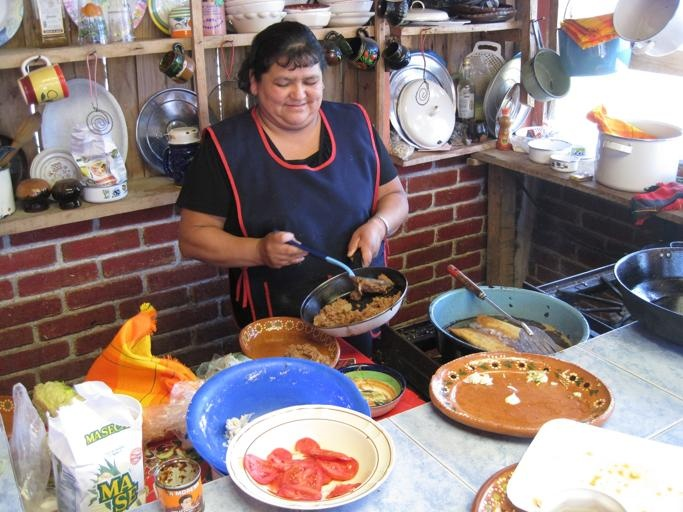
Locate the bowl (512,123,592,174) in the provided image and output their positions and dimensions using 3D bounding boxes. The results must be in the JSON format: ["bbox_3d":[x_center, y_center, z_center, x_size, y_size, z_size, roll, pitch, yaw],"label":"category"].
[{"bbox_3d":[1.094,-0.559,2.881,0.351,0.157,0.435,-14,27,-18],"label":"bowl"}]

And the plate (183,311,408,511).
[{"bbox_3d":[-0.104,0.393,1.404,0.397,0.104,0.382,-3,42,-12],"label":"plate"}]

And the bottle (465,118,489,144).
[{"bbox_3d":[0.740,-0.689,3.131,0.131,0.124,0.134,-11,23,-2],"label":"bottle"}]

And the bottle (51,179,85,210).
[{"bbox_3d":[-1.093,-0.244,2.254,0.118,0.107,0.118,5,18,21],"label":"bottle"}]

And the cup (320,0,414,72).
[{"bbox_3d":[0.141,-0.964,2.458,0.358,0.347,0.150,13,14,17],"label":"cup"}]

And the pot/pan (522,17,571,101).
[{"bbox_3d":[1.001,-0.976,2.741,0.209,0.366,0.121,-17,3,-18],"label":"pot/pan"}]

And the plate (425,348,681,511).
[{"bbox_3d":[0.533,0.338,1.405,0.614,0.056,0.343,-7,28,-7],"label":"plate"}]

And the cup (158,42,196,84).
[{"bbox_3d":[-0.671,-0.756,2.252,0.096,0.112,0.162,-31,51,20],"label":"cup"}]

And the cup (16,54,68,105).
[{"bbox_3d":[-1.074,-0.620,1.997,0.176,0.195,0.123,-10,7,-21],"label":"cup"}]

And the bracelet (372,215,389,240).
[{"bbox_3d":[0.155,-0.107,2.120,0.019,0.071,0.072,-13,7,16],"label":"bracelet"}]

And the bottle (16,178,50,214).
[{"bbox_3d":[-1.204,-0.242,2.190,0.133,0.127,0.133,-2,13,-7],"label":"bottle"}]
